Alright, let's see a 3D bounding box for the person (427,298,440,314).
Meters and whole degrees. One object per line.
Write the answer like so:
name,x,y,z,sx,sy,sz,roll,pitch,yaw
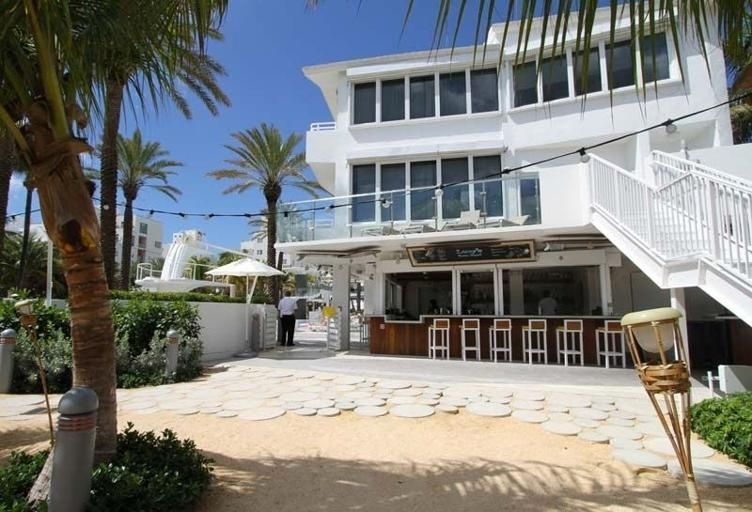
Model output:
person,2.634,2.296,22.261,0.465,0.825,0.450,-8,-27,20
